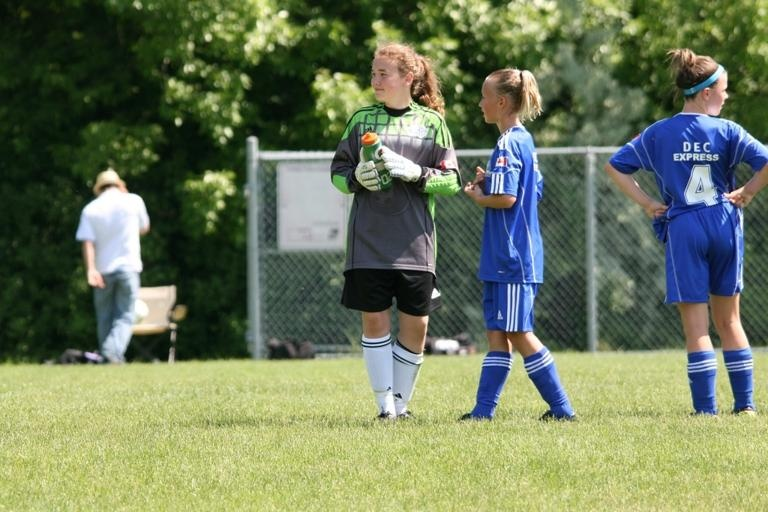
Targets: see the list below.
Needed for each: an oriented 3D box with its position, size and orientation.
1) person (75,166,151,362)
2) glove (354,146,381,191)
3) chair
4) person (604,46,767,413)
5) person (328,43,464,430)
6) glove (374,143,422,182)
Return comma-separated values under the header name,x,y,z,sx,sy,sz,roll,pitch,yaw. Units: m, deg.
name,x,y,z,sx,sy,sz,roll,pitch,yaw
person,-3.089,0.034,17.223,0.780,2.052,0.387,-1,-1,-12
glove,-0.167,-0.845,15.476,0.218,0.296,0.106,3,15,27
chair,-3.061,0.869,19.984,0.815,0.874,0.719,-3,16,1
person,3.253,-0.293,15.758,1.438,3.736,0.449,-1,-1,12
person,0.107,-0.292,15.669,1.230,3.821,0.487,-1,-1,-2
glove,0.131,-0.951,15.483,0.172,0.401,0.336,-52,-2,42
